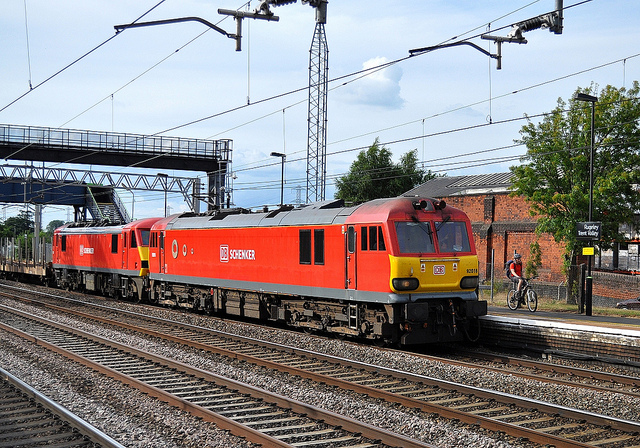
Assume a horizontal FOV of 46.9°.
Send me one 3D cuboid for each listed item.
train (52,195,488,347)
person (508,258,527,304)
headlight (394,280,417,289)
[{"bbox_3d":[-2.654,1.556,31.100,3.724,4.069,25.803,-4,0,-31],"label":"train"},{"bbox_3d":[7.530,2.145,28.080,0.620,1.782,1.308,2,2,20],"label":"person"},{"bbox_3d":[2.446,1.712,21.015,0.682,0.238,0.063,0,2,-16],"label":"headlight"}]
